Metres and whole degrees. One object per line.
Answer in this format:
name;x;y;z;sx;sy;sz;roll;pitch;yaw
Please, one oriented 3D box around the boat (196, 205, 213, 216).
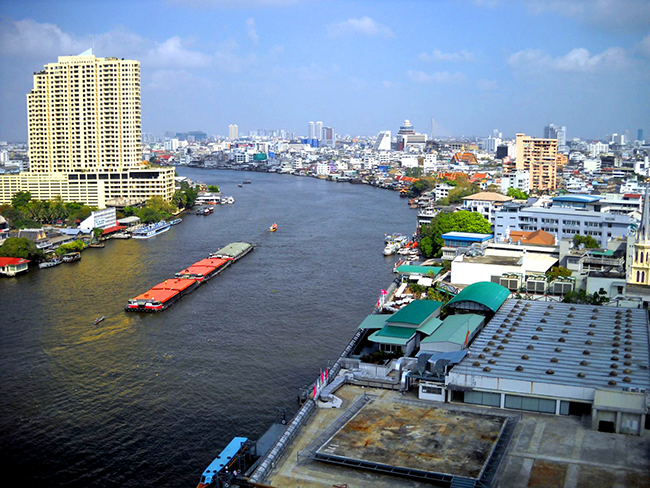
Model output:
boat;-6.278;-1.762;33.974;0.763;0.292;0.958;-1;8;0
